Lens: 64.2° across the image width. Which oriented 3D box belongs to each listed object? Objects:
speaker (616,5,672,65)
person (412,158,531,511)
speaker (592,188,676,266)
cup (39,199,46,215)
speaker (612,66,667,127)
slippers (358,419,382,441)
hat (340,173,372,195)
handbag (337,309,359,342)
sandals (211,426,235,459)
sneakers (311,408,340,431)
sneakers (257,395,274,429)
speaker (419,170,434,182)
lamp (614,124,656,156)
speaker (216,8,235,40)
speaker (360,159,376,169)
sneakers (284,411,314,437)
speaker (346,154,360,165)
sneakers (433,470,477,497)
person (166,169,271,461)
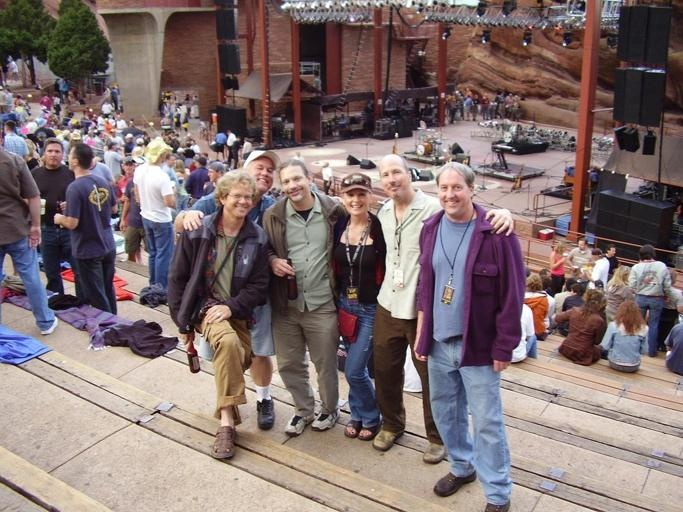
[{"bbox_3d":[6.821,-5.055,12.343,1.145,1.294,0.747,10,15,40],"label":"speaker"},{"bbox_3d":[0.822,0.509,3.571,0.803,2.196,0.521,8,14,31],"label":"person"},{"bbox_3d":[7.412,-0.674,13.752,0.629,1.704,1.923,-9,13,-30],"label":"speaker"},{"bbox_3d":[-3.440,-0.551,6.272,0.056,0.185,0.112,-6,14,-30],"label":"cup"},{"bbox_3d":[7.017,-3.757,12.855,0.366,1.364,1.192,-7,14,-33],"label":"speaker"},{"bbox_3d":[0.218,1.362,4.228,0.080,0.077,0.218,0,-1,21],"label":"slippers"},{"bbox_3d":[0.107,-0.526,3.981,0.213,0.150,0.179,0,11,-3],"label":"hat"},{"bbox_3d":[0.050,0.527,4.179,0.069,0.212,0.226,-4,14,-38],"label":"handbag"},{"bbox_3d":[-0.818,1.302,3.753,0.103,0.102,0.263,0,-1,-8],"label":"sandals"},{"bbox_3d":[-0.130,1.309,4.334,0.102,0.104,0.271,1,-3,23],"label":"sneakers"},{"bbox_3d":[-0.604,1.262,4.326,0.095,0.105,0.274,-2,11,-12],"label":"sneakers"},{"bbox_3d":[3.247,-3.101,20.796,0.425,0.404,0.257,7,-14,25],"label":"speaker"},{"bbox_3d":[7.682,-3.032,14.336,1.492,0.826,1.032,-1,10,23],"label":"lamp"},{"bbox_3d":[-4.542,-9.212,21.634,0.397,1.213,1.359,-8,14,-34],"label":"speaker"},{"bbox_3d":[1.076,-3.726,22.281,0.485,0.299,0.459,-9,14,-39],"label":"speaker"},{"bbox_3d":[-0.338,1.331,4.305,0.109,0.101,0.249,2,2,28],"label":"sneakers"},{"bbox_3d":[0.472,-4.030,22.908,0.519,0.370,0.384,0,1,-1],"label":"speaker"},{"bbox_3d":[0.795,1.550,3.748,0.333,0.125,0.114,-13,16,-29],"label":"sneakers"},{"bbox_3d":[-0.925,0.374,3.974,0.649,1.959,0.713,5,13,21],"label":"person"}]
